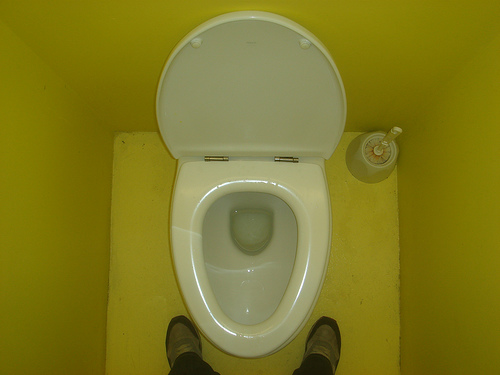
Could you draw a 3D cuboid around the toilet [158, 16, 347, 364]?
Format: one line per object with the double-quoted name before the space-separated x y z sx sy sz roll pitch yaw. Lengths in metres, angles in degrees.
"toilet" 0.023 0.140 1.628 0.562 1.261 0.770 -4 67 -3
